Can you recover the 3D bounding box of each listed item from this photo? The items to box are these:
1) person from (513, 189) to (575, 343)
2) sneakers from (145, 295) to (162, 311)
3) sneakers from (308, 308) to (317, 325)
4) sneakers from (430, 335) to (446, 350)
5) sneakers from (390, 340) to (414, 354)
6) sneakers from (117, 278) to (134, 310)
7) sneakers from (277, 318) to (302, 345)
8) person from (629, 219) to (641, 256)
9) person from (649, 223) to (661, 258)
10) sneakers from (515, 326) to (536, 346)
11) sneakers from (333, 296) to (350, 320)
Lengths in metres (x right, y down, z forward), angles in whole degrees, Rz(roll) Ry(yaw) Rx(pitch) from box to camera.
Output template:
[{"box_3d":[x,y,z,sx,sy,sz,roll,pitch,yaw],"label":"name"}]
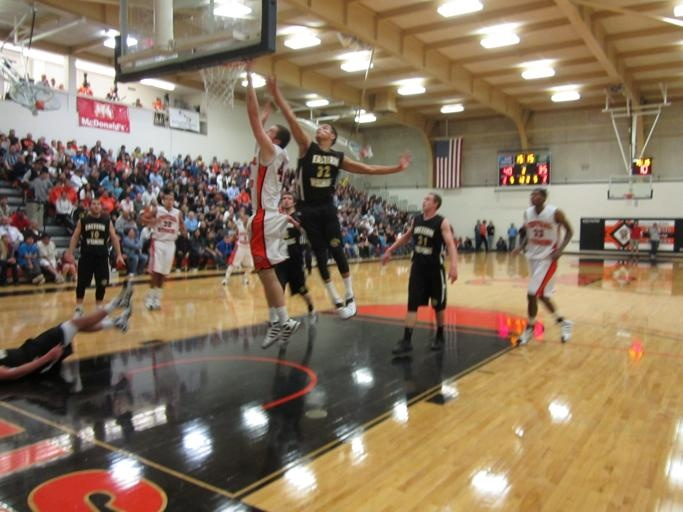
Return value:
[{"box_3d":[2.612,0.097,6.497,0.724,1.926,1.022,4,8,26],"label":"person"},{"box_3d":[-3.003,0.744,8.127,0.149,0.309,0.288,5,-24,-15],"label":"sneakers"},{"box_3d":[-0.422,0.832,7.254,0.112,0.230,0.222,0,7,-9],"label":"sneakers"},{"box_3d":[1.153,1.040,6.052,0.086,0.205,0.272,-2,-14,29],"label":"sneakers"},{"box_3d":[0.692,1.036,5.832,0.301,0.262,0.109,1,-3,-18],"label":"sneakers"},{"box_3d":[-2.137,0.366,5.027,0.104,0.361,0.136,8,4,-36],"label":"sneakers"},{"box_3d":[-0.500,0.723,5.060,0.196,0.241,0.289,4,8,25],"label":"sneakers"},{"box_3d":[12.523,-0.749,21.553,0.393,1.429,1.945,5,8,30],"label":"person"},{"box_3d":[13.123,-0.666,21.162,0.430,1.455,2.383,5,8,32],"label":"person"},{"box_3d":[2.343,1.017,6.423,0.130,0.186,0.473,-28,4,31],"label":"sneakers"},{"box_3d":[-0.001,0.630,5.886,0.145,0.259,0.483,0,7,-3],"label":"sneakers"}]
